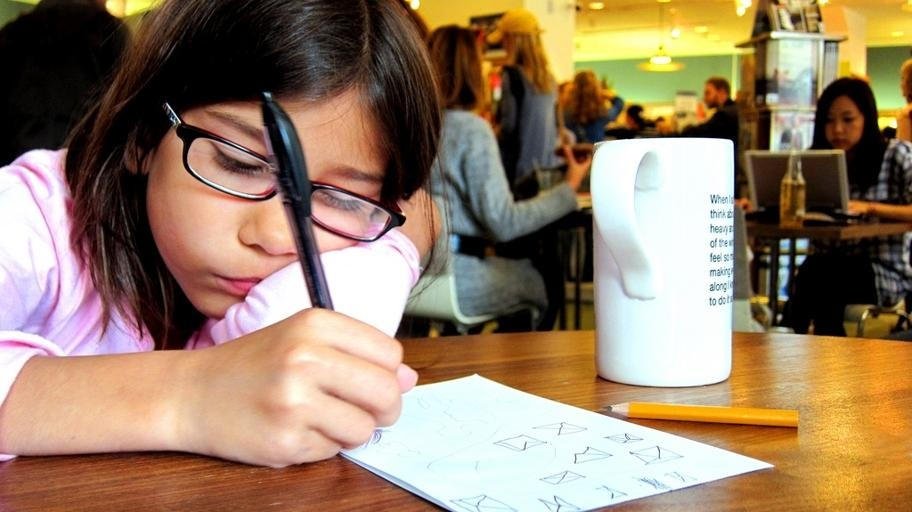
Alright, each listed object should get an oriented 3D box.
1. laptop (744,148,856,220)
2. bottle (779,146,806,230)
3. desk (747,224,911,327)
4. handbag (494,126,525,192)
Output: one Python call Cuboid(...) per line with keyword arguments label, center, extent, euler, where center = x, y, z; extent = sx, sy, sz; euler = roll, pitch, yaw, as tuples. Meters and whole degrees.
Cuboid(label="laptop", center=(1.609, -0.350, 3.276), extent=(0.496, 0.297, 0.336), euler=(2, 16, 35))
Cuboid(label="bottle", center=(1.526, -0.305, 3.133), extent=(0.108, 0.320, 0.309), euler=(5, 16, 26))
Cuboid(label="desk", center=(1.641, 0.001, 3.149), extent=(0.588, 0.480, 0.543), euler=(-3, 9, -1))
Cuboid(label="handbag", center=(0.204, -0.382, 2.662), extent=(0.088, 0.211, 0.161), euler=(-8, 7, -10))
